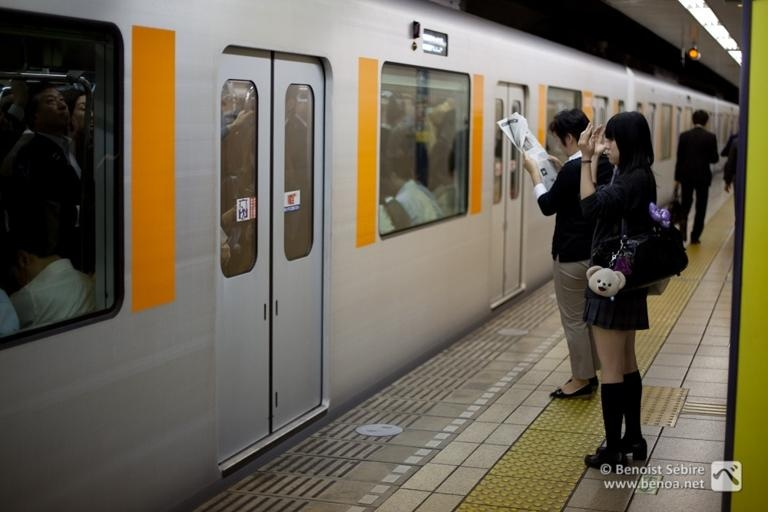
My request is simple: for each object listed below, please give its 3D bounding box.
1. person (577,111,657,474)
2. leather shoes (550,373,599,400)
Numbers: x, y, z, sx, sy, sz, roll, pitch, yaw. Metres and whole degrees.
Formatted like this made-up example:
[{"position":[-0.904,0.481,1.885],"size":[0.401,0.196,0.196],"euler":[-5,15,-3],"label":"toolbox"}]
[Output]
[{"position":[1.645,0.291,3.736],"size":[0.615,2.609,0.452],"euler":[-5,6,-32],"label":"person"},{"position":[1.838,1.280,5.221],"size":[0.559,0.220,0.200],"euler":[-2,8,23],"label":"leather shoes"}]
